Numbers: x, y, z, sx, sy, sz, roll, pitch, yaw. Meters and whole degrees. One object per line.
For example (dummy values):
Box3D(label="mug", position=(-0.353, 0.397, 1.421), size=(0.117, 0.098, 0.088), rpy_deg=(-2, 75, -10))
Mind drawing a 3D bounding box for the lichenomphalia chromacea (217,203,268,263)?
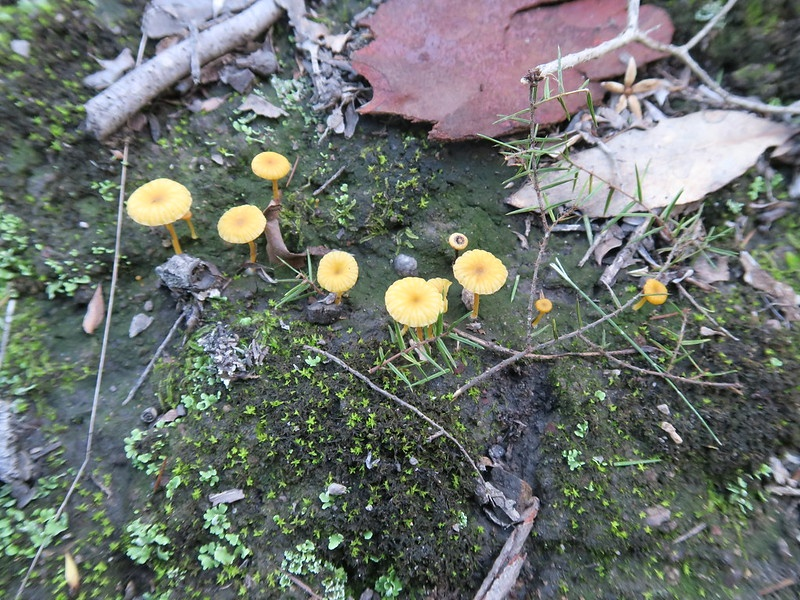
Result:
Box3D(label="lichenomphalia chromacea", position=(-1.675, -0.802, 5.706), size=(0.466, 0.156, 0.403), rpy_deg=(-22, 84, -2))

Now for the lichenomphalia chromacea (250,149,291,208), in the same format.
Box3D(label="lichenomphalia chromacea", position=(-1.471, -1.338, 6.060), size=(0.420, 0.624, 0.465), rpy_deg=(-14, 64, -9))

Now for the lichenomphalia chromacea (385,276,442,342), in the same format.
Box3D(label="lichenomphalia chromacea", position=(0.124, 0.104, 5.513), size=(0.456, 0.511, 0.522), rpy_deg=(-8, 60, -5))

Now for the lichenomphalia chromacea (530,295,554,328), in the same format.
Box3D(label="lichenomphalia chromacea", position=(1.491, 0.132, 5.735), size=(0.181, 0.330, 0.224), rpy_deg=(10, 53, 0))

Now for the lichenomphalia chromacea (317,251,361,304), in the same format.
Box3D(label="lichenomphalia chromacea", position=(-0.612, -0.148, 5.724), size=(0.271, 0.377, 0.291), rpy_deg=(6, 32, 3))

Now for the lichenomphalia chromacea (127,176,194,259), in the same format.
Box3D(label="lichenomphalia chromacea", position=(-2.455, -0.771, 5.765), size=(0.606, 0.747, 0.610), rpy_deg=(-30, 48, -27))
